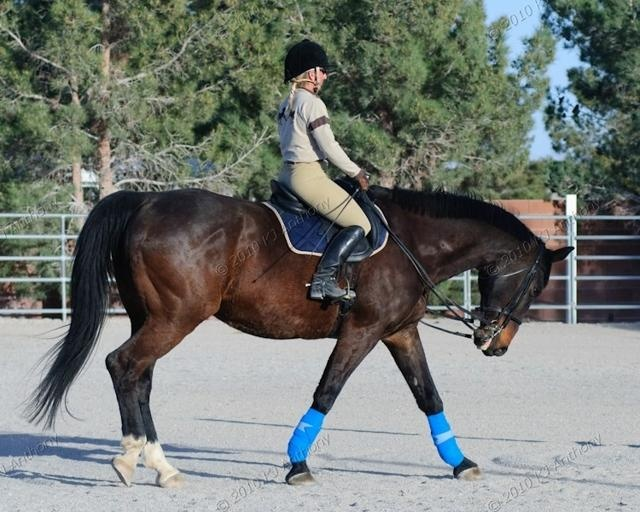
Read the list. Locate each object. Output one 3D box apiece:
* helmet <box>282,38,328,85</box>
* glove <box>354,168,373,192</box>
[{"bbox_3d":[-0.167,-2.565,16.090,0.613,0.512,0.451,7,-4,-25],"label":"helmet"},{"bbox_3d":[0.531,-0.964,15.964,0.209,0.277,0.089,-36,23,-27],"label":"glove"}]
